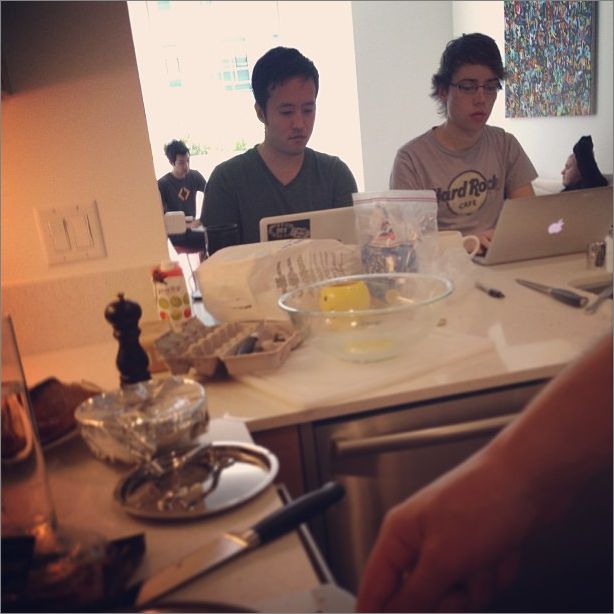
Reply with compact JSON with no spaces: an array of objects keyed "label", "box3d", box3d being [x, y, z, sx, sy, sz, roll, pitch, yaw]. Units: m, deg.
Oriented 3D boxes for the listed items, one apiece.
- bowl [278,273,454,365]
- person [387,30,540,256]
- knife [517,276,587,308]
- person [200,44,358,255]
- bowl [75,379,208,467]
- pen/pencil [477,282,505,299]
[{"label":"bowl","box3d":[0.074,-0.007,0.963,0.162,0.065,0.171,17,23,-7]},{"label":"person","box3d":[0.725,-0.677,2.325,0.634,1.039,0.597,-6,28,5]},{"label":"knife","box3d":[0.547,-0.038,1.145,0.030,0.018,0.146,-14,20,-9]},{"label":"person","box3d":[-0.149,-0.709,2.329,0.717,0.805,0.385,-3,13,7]},{"label":"bowl","box3d":[-0.218,0.154,0.719,0.155,0.071,0.182,6,12,40]},{"label":"pen/pencil","box3d":[0.432,-0.043,1.222,0.017,0.022,0.093,22,11,-10]}]
